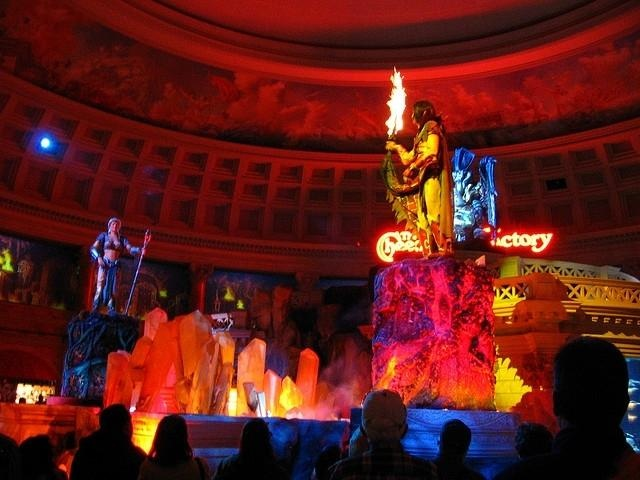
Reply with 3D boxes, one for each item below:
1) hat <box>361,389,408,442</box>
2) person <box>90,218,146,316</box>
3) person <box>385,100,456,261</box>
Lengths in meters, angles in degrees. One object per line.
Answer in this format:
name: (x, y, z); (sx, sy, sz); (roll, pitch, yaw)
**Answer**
hat: (0.415, 1.127, 3.474); (0.256, 0.306, 0.336); (-1, 18, 7)
person: (-5.278, 0.645, 13.260); (0.964, 2.387, 1.125); (16, -22, -39)
person: (1.593, -0.971, 8.436); (1.017, 2.528, 0.784); (-9, -20, 30)
